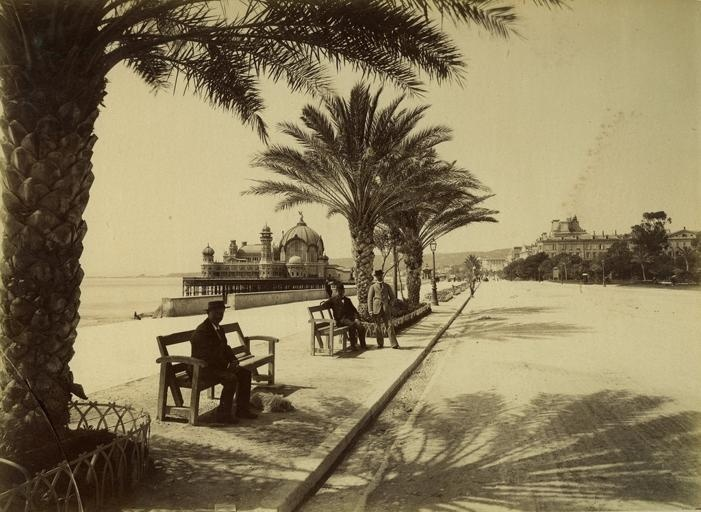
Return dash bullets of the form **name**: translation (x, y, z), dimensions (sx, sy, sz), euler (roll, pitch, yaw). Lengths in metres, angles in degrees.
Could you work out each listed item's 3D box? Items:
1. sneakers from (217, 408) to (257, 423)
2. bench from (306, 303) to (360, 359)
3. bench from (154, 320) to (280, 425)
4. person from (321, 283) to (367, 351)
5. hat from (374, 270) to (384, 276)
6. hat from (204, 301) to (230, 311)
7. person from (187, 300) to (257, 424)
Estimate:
- **sneakers**: translation (-1.552, 2.170, 8.670), dimensions (0.526, 0.264, 0.195), euler (-2, -1, -6)
- **bench**: translation (-0.414, 1.547, 13.880), dimensions (0.588, 1.006, 1.813), euler (-2, -3, 11)
- **bench**: translation (-1.938, 1.631, 9.590), dimensions (0.745, 1.170, 2.495), euler (-1, 0, 18)
- **person**: translation (-0.123, 1.302, 13.933), dimensions (0.822, 1.516, 0.791), euler (-10, -6, 31)
- **hat**: translation (0.626, 0.351, 14.408), dimensions (0.153, 0.073, 0.184), euler (-4, -5, -12)
- **hat**: translation (-1.929, 0.685, 9.011), dimensions (0.359, 0.140, 0.421), euler (-1, -7, -17)
- **person**: translation (-1.758, 1.412, 8.739), dimensions (0.749, 1.655, 0.489), euler (-5, -3, 14)
